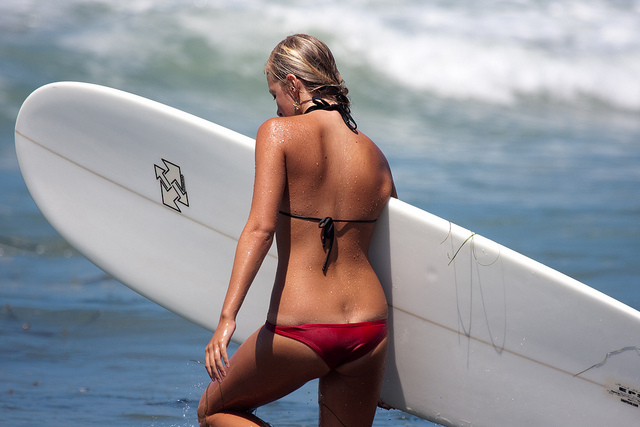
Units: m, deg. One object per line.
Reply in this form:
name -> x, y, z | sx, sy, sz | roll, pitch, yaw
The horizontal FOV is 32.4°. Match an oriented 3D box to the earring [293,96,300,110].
earring -> -0.205, -0.929, 9.126 | 0.065, 0.118, 0.038 | -2, -1, 26
